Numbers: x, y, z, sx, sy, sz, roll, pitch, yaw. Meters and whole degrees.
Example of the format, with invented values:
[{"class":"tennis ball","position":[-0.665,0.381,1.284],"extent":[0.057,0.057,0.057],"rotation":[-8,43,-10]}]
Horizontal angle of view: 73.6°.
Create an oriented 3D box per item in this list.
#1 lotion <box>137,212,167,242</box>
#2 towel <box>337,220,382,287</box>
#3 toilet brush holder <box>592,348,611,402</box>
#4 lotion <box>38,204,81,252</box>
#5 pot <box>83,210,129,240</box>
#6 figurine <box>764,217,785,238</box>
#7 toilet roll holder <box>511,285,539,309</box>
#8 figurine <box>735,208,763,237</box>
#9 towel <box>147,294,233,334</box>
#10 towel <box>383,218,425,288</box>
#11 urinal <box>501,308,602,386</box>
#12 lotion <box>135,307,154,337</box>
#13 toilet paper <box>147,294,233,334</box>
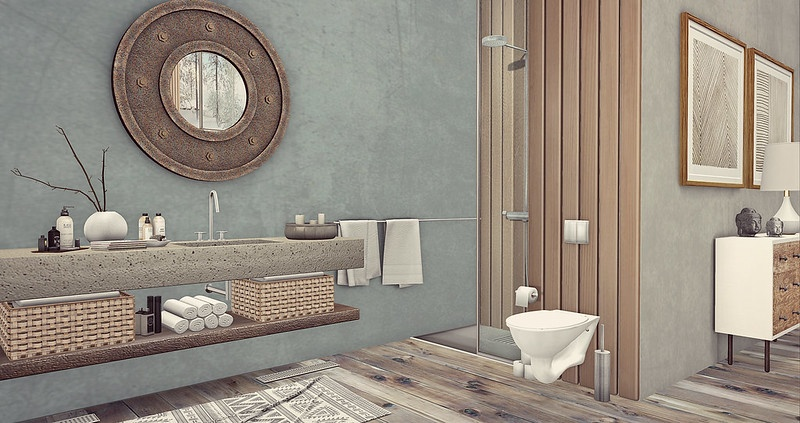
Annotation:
[{"class":"lotion","position":[-2.097,0.138,4.524],"extent":[0.262,0.317,0.130],"rotation":[1,-6,-34]},{"class":"towel","position":[-0.418,0.445,5.582],"extent":[0.516,0.706,0.294],"rotation":[-6,15,-22]},{"class":"toilet brush holder","position":[1.772,1.448,4.716],"extent":[0.147,0.420,0.189],"rotation":[4,15,15]},{"class":"lotion","position":[-2.631,0.145,4.205],"extent":[0.280,0.288,0.301],"rotation":[2,14,7]},{"class":"pot","position":[-2.401,0.140,4.402],"extent":[0.344,0.280,0.335],"rotation":[-3,3,0]},{"class":"figurine","position":[3.720,0.162,5.349],"extent":[0.218,0.223,0.185],"rotation":[0,-4,-26]},{"class":"toilet roll holder","position":[1.198,0.795,5.185],"extent":[0.257,0.205,0.201],"rotation":[4,10,45]},{"class":"figurine","position":[3.514,0.111,5.423],"extent":[0.319,0.279,0.300],"rotation":[0,0,-30]},{"class":"towel","position":[-1.717,0.790,4.472],"extent":[0.453,0.196,0.317],"rotation":[2,-3,-42]},{"class":"towel","position":[0.013,0.439,5.768],"extent":[0.421,0.680,0.266],"rotation":[-1,14,-3]},{"class":"urinal","position":[1.354,1.193,4.876],"extent":[0.801,0.555,0.657],"rotation":[0,0,-37]},{"class":"lotion","position":[-2.059,0.899,4.326],"extent":[0.154,0.192,0.096],"rotation":[-2,14,-11]},{"class":"toilet paper","position":[-1.710,0.789,4.467],"extent":[0.453,0.196,0.317],"rotation":[2,-3,-42]}]
